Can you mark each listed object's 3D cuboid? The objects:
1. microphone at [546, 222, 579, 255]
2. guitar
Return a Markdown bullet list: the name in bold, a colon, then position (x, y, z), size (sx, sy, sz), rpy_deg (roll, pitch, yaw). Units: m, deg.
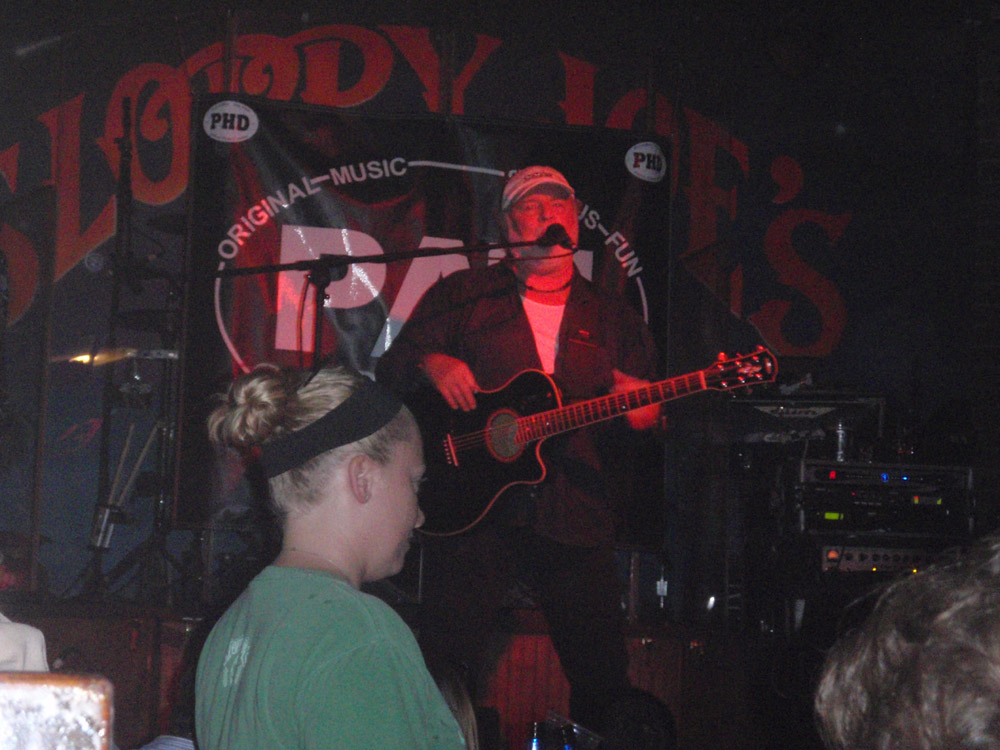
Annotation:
- **microphone**: position (0.354, -0.791, 8.698), size (0.083, 0.067, 0.169), rpy_deg (-20, -23, 27)
- **guitar**: position (0.355, 0.338, 8.538), size (2.319, 0.885, 0.242), rpy_deg (-14, -13, 0)
